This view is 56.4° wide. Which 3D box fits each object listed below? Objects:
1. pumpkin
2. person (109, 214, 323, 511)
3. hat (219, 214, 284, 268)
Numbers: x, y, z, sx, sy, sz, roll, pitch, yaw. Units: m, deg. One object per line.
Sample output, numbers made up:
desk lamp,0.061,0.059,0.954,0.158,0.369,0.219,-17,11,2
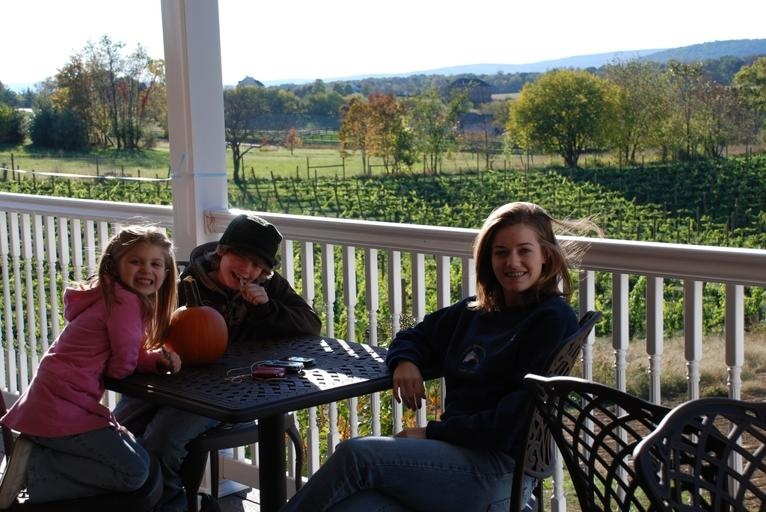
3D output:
pumpkin,-0.705,0.240,2.711,0.188,0.305,0.200,-16,-6,28
person,-0.838,0.356,3.475,0.987,1.505,1.039,8,9,44
hat,-0.569,-0.064,3.020,0.256,0.227,0.201,-3,10,-9
